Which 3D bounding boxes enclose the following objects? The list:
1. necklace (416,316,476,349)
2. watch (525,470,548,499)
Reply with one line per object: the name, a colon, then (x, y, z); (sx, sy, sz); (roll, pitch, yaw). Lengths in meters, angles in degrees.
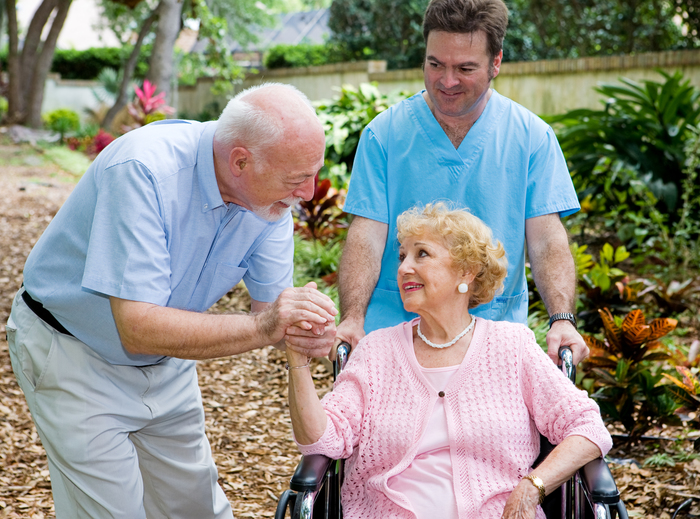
necklace: (0.493, 0.367, 5.448); (0.173, 0.210, 0.037); (-6, -1, 9)
watch: (0.914, 1.135, 5.109); (0.112, 0.119, 0.048); (8, 13, 27)
